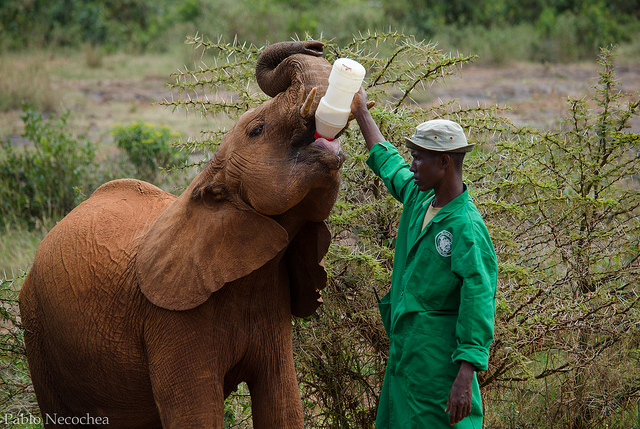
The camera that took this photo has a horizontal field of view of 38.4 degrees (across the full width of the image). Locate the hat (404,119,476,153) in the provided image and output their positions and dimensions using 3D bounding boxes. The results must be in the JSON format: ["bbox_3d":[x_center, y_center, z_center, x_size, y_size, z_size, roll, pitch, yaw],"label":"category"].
[{"bbox_3d":[1.102,-0.706,8.534,0.407,0.168,0.374,9,8,43],"label":"hat"}]

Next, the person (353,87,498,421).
[{"bbox_3d":[1.007,0.573,8.663,1.381,2.881,0.572,9,12,34],"label":"person"}]

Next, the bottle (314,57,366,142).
[{"bbox_3d":[0.187,-1.146,8.353,0.316,0.743,0.339,18,27,-10],"label":"bottle"}]
